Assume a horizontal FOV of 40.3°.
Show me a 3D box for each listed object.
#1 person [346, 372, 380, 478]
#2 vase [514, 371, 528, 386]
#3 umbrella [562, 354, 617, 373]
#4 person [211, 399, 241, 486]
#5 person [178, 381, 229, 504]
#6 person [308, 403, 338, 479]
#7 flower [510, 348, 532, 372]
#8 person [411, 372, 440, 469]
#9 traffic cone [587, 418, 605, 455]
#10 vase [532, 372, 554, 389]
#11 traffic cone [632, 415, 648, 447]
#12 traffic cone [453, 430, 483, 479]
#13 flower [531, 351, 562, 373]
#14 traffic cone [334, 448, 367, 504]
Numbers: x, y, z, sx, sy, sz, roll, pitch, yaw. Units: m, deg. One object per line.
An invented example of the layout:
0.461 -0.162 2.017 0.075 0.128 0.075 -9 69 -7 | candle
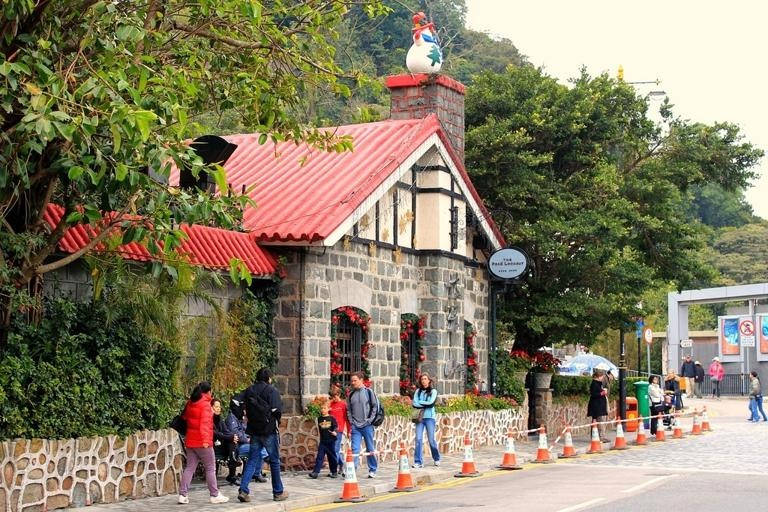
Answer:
-0.509 4.173 25.770 0.833 2.358 0.809 1 0 9 | person
4.592 4.114 35.331 0.314 0.606 1.115 -3 -13 11 | vase
9.443 4.910 47.877 1.937 0.749 2.079 2 -11 -17 | umbrella
-3.733 4.262 23.975 0.804 1.832 0.714 4 -1 43 | person
-3.904 3.930 22.210 0.925 2.568 0.685 0 -10 -10 | person
-1.470 4.404 25.058 0.473 1.761 0.723 0 -4 -4 | person
4.719 3.566 35.966 0.628 0.730 0.656 2 -5 -6 | flower
0.998 4.220 27.168 0.661 2.338 0.814 -2 -4 23 | person
6.114 5.268 30.689 0.685 1.044 0.710 -2 -1 -8 | traffic cone
5.624 4.400 37.035 0.546 0.431 0.555 -9 -13 43 | vase
7.983 5.422 32.571 0.331 0.857 0.889 -4 -12 16 | traffic cone
2.048 5.058 26.448 0.772 1.233 0.843 0 -7 -9 | traffic cone
5.729 3.911 37.330 0.740 0.756 0.820 1 5 3 | flower
-0.742 4.872 23.367 0.577 1.147 1.114 -1 -11 -1 | traffic cone
